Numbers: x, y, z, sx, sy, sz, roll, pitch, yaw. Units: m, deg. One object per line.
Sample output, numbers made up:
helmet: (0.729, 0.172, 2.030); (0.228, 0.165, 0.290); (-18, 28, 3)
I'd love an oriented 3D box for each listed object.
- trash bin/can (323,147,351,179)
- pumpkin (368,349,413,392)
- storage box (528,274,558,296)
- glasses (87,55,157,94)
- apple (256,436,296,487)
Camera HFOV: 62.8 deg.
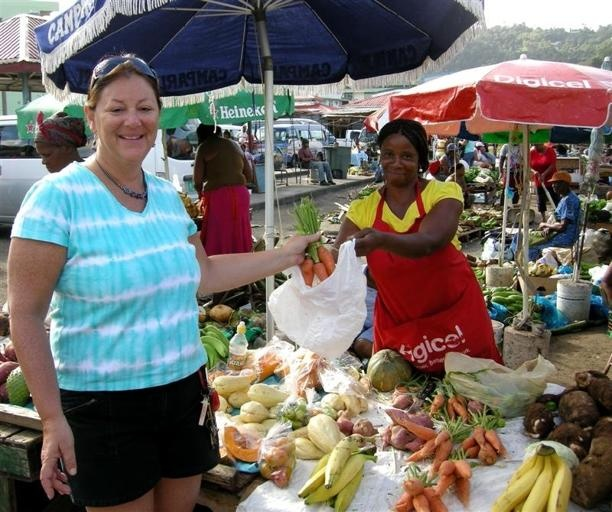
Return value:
trash bin/can: (1.579, -4.416, 23.951); (1.494, 1.543, 1.363); (-1, 2, -1)
pumpkin: (0.588, 0.855, 3.779); (0.299, 0.289, 0.309); (31, 51, 34)
storage box: (3.082, 0.391, 6.542); (0.420, 0.226, 0.291); (0, 4, 10)
glasses: (-0.686, -0.716, 1.884); (0.174, 0.066, 0.178); (1, -9, -7)
apple: (-0.152, 1.196, 2.912); (0.167, 0.268, 0.118); (-19, -38, 25)
